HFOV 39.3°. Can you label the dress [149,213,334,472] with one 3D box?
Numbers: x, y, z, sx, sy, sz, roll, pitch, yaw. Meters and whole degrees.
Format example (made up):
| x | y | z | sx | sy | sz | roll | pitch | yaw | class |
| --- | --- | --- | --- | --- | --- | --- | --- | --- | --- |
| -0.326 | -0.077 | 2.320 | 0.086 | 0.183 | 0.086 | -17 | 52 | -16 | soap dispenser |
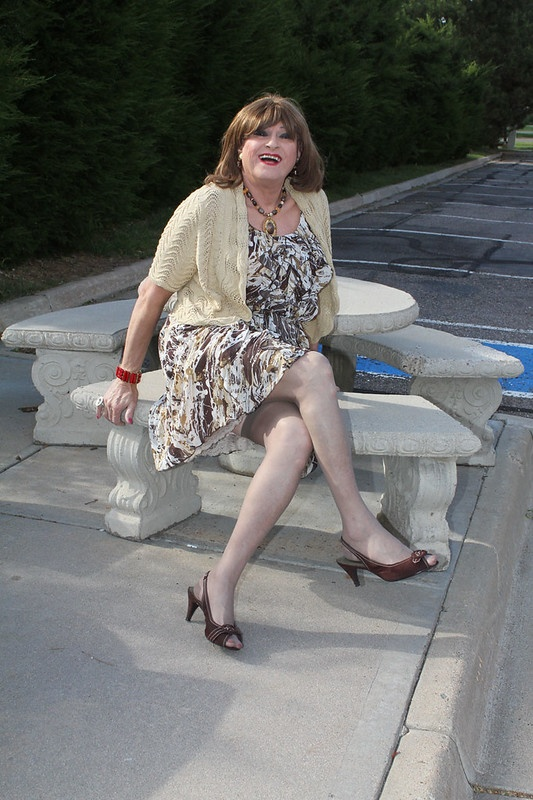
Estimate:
| x | y | z | sx | sy | sz | roll | pitch | yaw | class |
| --- | --- | --- | --- | --- | --- | --- | --- | --- | --- |
| -0.096 | -0.179 | 2.379 | 0.546 | 0.794 | 0.585 | 3 | 13 | 4 | dress |
